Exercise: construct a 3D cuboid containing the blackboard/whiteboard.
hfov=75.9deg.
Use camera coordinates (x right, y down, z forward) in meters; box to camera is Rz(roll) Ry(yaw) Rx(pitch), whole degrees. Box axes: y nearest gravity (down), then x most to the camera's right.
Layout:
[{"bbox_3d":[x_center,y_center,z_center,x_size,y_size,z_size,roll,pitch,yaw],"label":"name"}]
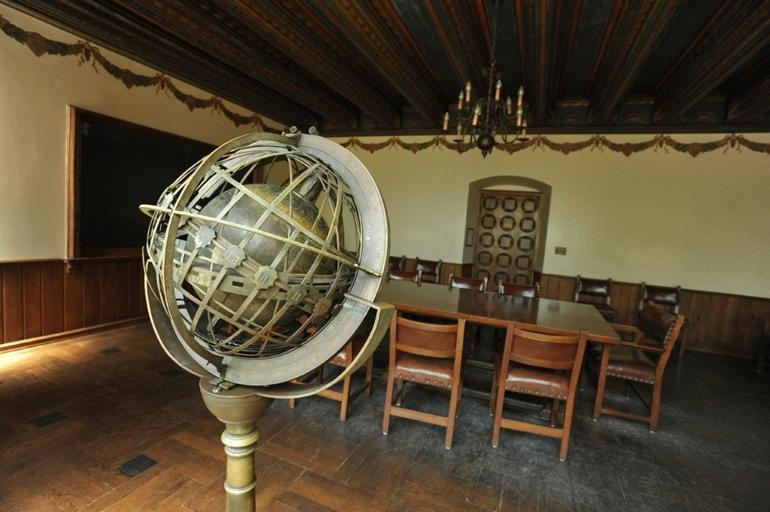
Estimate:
[{"bbox_3d":[-2.476,-0.755,5.036,0.083,1.561,2.154,3,2,34],"label":"blackboard/whiteboard"}]
